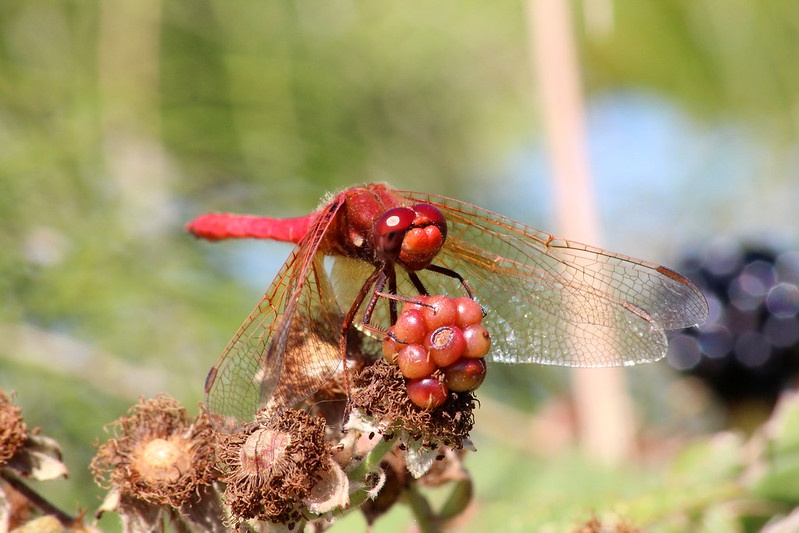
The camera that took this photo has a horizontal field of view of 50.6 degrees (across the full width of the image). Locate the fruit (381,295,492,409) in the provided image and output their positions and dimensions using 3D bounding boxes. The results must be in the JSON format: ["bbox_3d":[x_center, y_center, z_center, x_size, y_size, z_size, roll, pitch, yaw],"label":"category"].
[{"bbox_3d":[0.107,0.283,2.530,0.255,0.261,0.341,19,-46,-41],"label":"fruit"}]
